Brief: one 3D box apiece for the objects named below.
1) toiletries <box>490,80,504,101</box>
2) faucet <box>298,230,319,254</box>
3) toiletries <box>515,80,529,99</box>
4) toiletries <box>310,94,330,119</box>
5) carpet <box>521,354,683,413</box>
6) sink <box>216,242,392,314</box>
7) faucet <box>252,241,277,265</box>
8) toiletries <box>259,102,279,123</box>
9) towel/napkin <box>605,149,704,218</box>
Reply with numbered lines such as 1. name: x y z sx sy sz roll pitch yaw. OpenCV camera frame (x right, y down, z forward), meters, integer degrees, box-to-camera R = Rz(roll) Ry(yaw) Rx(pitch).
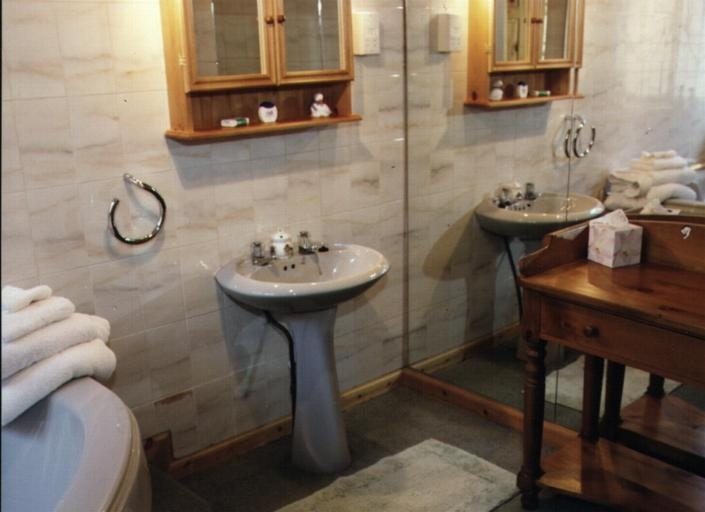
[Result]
1. toiletries: 0.641 -0.757 2.678 0.076 0.088 0.079 -1 27 9
2. faucet: -0.188 -0.068 2.654 0.098 0.106 0.095 -1 16 1
3. toiletries: 0.742 -0.734 2.561 0.057 0.090 0.051 12 33 27
4. toiletries: -0.125 -0.671 2.643 0.090 0.111 0.118 -3 -2 2
5. carpet: 1.021 0.517 2.362 0.351 0.082 0.328 12 17 42
6. sink: -0.201 0.127 2.484 0.682 0.197 0.454 -12 22 -24
7. faucet: -0.375 -0.009 2.562 0.104 0.106 0.109 2 16 4
8. toiletries: -0.356 -0.599 2.439 0.054 0.096 0.076 18 31 42
9. towel/napkin: 1.155 -0.284 2.252 0.249 0.106 0.234 -19 25 -25
